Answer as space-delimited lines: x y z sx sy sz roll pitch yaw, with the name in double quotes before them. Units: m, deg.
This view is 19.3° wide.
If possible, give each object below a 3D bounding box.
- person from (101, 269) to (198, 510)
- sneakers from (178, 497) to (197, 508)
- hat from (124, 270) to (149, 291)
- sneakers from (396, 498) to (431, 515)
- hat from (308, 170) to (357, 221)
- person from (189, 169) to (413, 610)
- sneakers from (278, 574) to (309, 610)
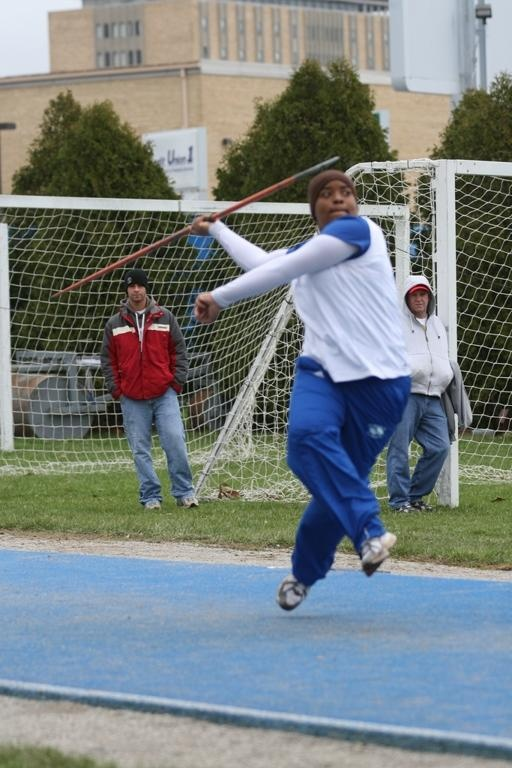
"person" -0.702 0.032 9.876 0.593 1.574 0.460 -3 3 -7
"sneakers" -0.434 0.775 9.938 0.061 0.051 0.117 1 -10 -22
"hat" -0.778 -0.686 9.912 0.115 0.111 0.147 1 -8 -3
"sneakers" 1.017 0.770 9.521 0.255 0.111 0.085 -3 5 4
"hat" 0.274 -0.727 5.827 0.156 0.218 0.222 -5 -2 -5
"person" 0.207 0.057 5.761 0.758 1.757 0.569 -1 4 20
"sneakers" 0.151 0.823 5.945 0.091 0.155 0.062 10 20 2
